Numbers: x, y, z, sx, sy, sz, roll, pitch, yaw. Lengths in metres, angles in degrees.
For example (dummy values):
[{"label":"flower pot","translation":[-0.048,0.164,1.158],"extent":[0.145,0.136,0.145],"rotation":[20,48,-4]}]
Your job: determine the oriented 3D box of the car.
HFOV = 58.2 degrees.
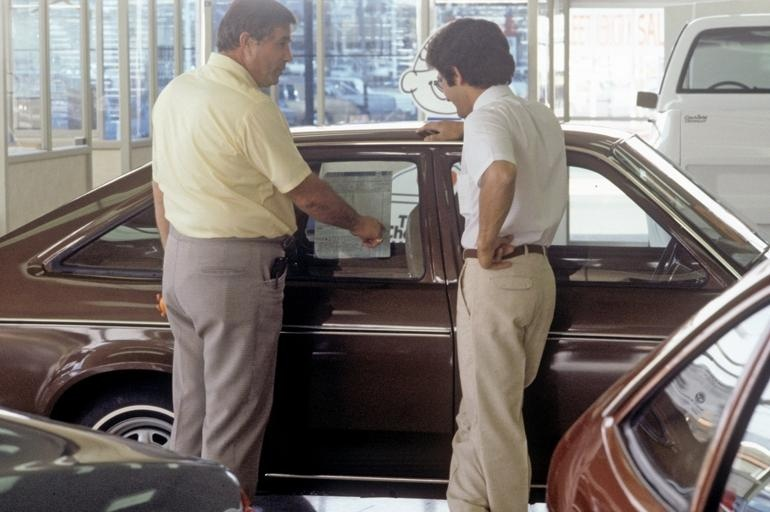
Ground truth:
[{"label":"car","translation":[-0.071,0.076,3.933],"extent":[3.550,1.671,1.785],"rotation":[-1,14,5]}]
